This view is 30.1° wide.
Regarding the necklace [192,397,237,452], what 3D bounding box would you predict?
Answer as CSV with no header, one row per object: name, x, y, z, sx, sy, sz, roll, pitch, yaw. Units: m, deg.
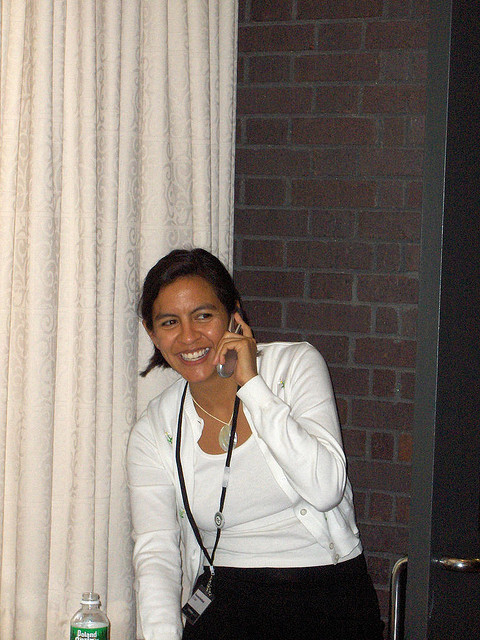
necklace,-0.057,0.251,2.172,0.056,0.130,0.153,0,-5,-27

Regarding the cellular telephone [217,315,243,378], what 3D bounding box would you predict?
cellular telephone,-0.027,0.066,2.136,0.033,0.129,0.086,15,15,8

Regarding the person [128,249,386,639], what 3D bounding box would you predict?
person,0.008,0.276,2.121,0.617,0.926,0.335,-3,-4,8
